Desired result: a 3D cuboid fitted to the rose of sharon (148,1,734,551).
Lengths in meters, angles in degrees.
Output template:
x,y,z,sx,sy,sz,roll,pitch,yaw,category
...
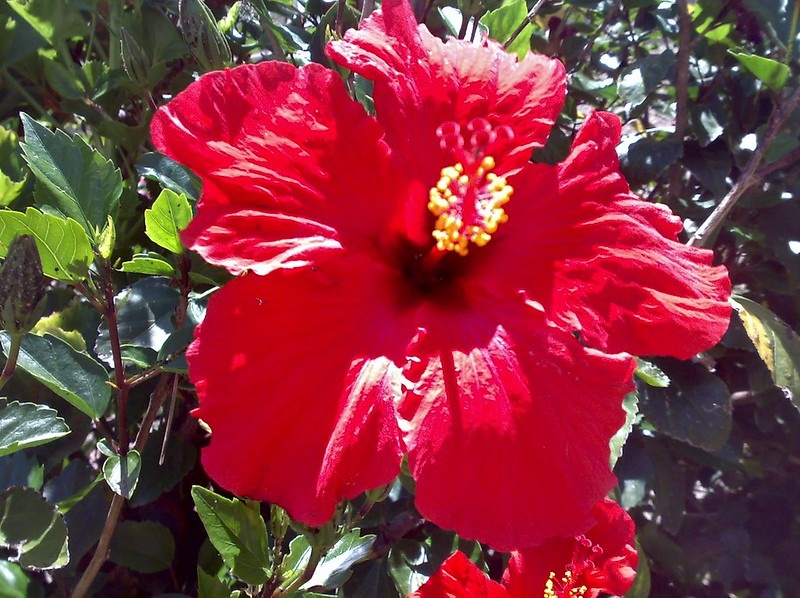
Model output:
x,y,z,sx,sy,sz,roll,pitch,yaw,category
0.046,0.016,1.788,1.006,0.775,1.073,-19,86,-1,rose of sharon
